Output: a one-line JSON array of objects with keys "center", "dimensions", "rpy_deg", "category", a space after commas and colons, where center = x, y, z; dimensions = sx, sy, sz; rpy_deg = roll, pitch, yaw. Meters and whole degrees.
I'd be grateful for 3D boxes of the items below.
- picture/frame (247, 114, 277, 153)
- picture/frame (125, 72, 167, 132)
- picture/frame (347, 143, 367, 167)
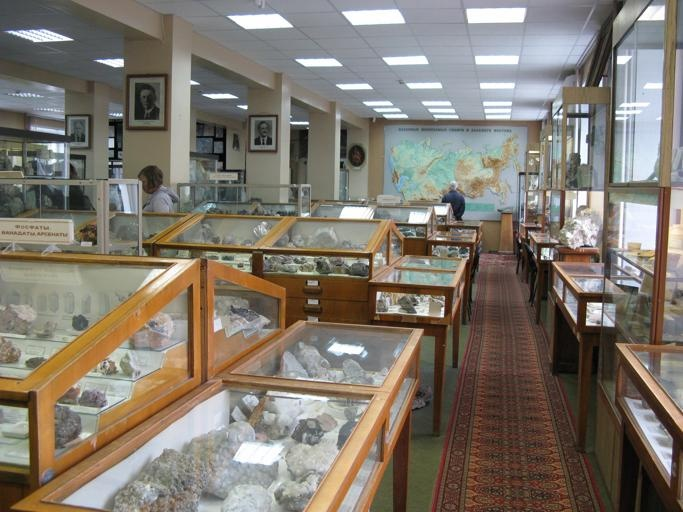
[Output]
[{"center": [-1.645, -2.545, 10.789], "dimensions": [0.618, 0.829, 0.032], "rpy_deg": [-4, 38, -16], "category": "picture/frame"}, {"center": [-2.780, -2.212, 7.361], "dimensions": [0.727, 1.040, 0.072], "rpy_deg": [1, 3, 3], "category": "picture/frame"}, {"center": [0.561, -3.570, 18.352], "dimensions": [0.756, 1.043, 0.102], "rpy_deg": [2, 4, 20], "category": "picture/frame"}]
